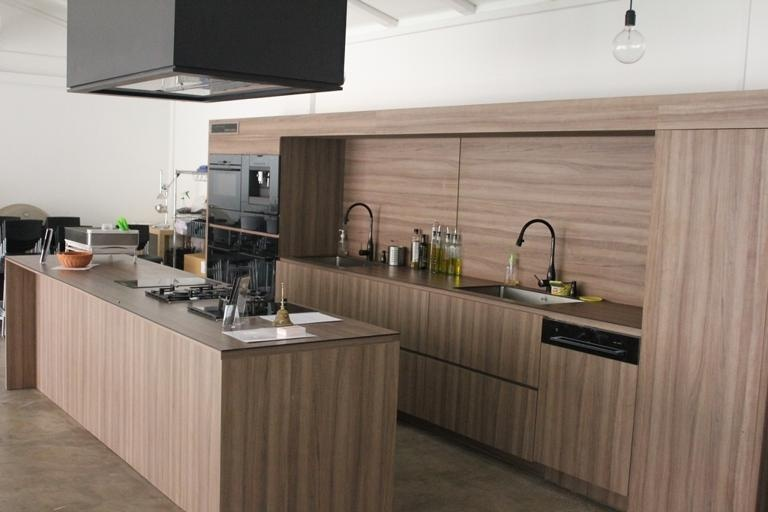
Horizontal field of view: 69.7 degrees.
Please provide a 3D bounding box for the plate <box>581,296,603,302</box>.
[{"bbox_3d":[1.564,0.324,4.158,0.166,0.015,0.206,7,10,22],"label":"plate"}]

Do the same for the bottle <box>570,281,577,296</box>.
[{"bbox_3d":[1.495,0.246,4.305,0.053,0.110,0.102,7,11,18],"label":"bottle"}]

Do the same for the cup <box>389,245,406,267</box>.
[{"bbox_3d":[0.137,-0.014,5.425,0.215,0.195,0.185,5,9,25],"label":"cup"}]

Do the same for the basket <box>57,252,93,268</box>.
[{"bbox_3d":[-2.600,0.032,4.628,0.190,0.072,0.179,1,-2,-9],"label":"basket"}]
